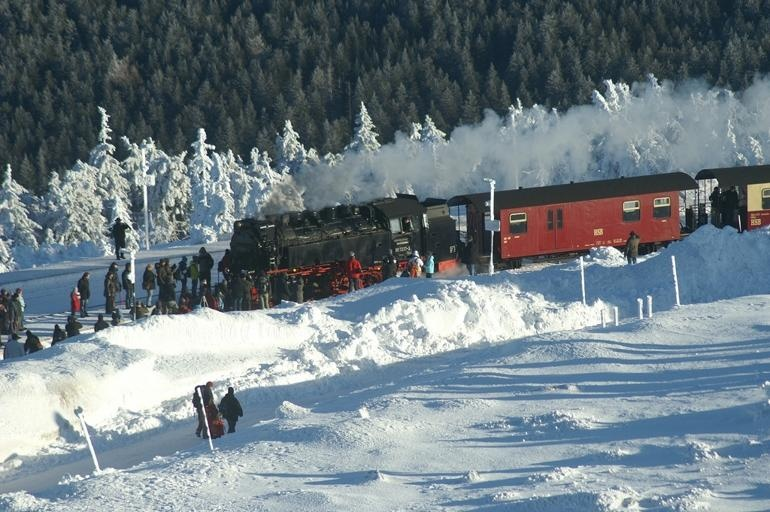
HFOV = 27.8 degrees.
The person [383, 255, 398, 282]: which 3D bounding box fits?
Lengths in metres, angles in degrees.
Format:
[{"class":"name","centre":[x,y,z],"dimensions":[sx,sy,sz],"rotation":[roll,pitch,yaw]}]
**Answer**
[{"class":"person","centre":[0.371,0.720,120.825],"dimensions":[0.822,1.790,1.421],"rotation":[-6,2,26]}]

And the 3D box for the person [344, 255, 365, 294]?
[{"class":"person","centre":[-2.464,1.200,118.789],"dimensions":[1.130,3.293,0.954],"rotation":[4,33,7]}]
